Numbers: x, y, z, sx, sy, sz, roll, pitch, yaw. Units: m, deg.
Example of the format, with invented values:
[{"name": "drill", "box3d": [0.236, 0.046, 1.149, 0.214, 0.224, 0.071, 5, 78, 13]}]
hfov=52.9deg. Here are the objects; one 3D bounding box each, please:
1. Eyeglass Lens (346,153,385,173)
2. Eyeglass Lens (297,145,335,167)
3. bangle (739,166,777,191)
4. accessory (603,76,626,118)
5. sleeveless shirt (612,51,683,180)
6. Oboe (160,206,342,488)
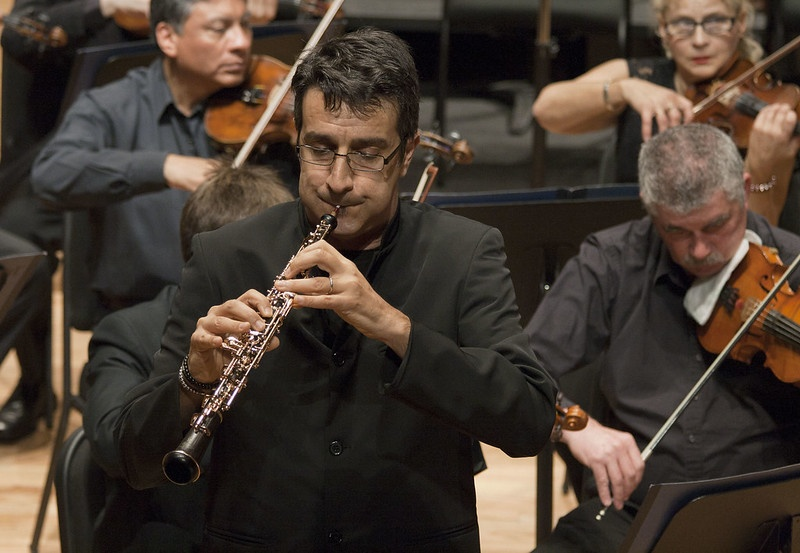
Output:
[{"name": "Eyeglass Lens", "box3d": [-0.073, -0.246, 1.740, 0.088, 0.042, 0.020, 1, 18, -3]}, {"name": "Eyeglass Lens", "box3d": [-0.187, -0.264, 1.750, 0.111, 0.041, 0.025, 13, 21, 32]}, {"name": "bangle", "box3d": [1.251, -0.347, 2.804, 0.126, 0.052, 0.131, -7, 39, 12]}, {"name": "accessory", "box3d": [0.817, -0.678, 3.054, 0.075, 0.123, 0.093, 17, 24, 40]}, {"name": "sleeveless shirt", "box3d": [0.998, -0.621, 3.242, 0.305, 0.432, 0.146, 10, 9, 29]}, {"name": "Oboe", "box3d": [-0.310, 0.169, 1.743, 0.115, 0.116, 0.781, 40, 67, 4]}]
